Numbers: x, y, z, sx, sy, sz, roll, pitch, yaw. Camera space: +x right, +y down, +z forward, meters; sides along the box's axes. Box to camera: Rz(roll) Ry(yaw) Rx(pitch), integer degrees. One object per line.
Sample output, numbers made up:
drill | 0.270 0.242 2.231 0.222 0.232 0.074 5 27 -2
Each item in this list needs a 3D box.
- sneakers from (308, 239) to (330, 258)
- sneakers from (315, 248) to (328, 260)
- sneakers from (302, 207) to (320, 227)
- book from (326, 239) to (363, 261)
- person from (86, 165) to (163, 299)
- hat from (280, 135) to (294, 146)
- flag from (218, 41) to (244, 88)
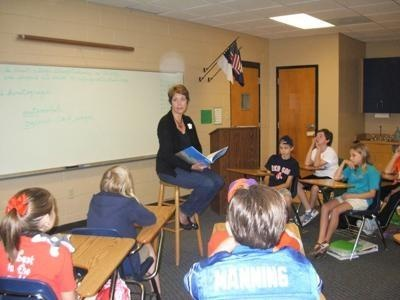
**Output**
sneakers | 1.530 1.269 3.934 0.340 0.136 0.125 -37 1 -7
sneakers | 1.549 1.327 3.872 0.081 0.081 0.223 6 -30 -31
sneakers | 1.870 1.143 5.105 0.335 0.154 0.117 -39 10 -9
book | 1.900 1.259 3.990 0.362 0.225 0.494 5 10 34
person | -0.614 0.744 2.481 0.585 1.214 0.430 -3 8 -18
hat | 1.354 -0.161 4.810 0.207 0.152 0.156 16 10 35
flag | 0.620 -1.783 6.141 0.496 0.929 0.406 -2 8 -12
